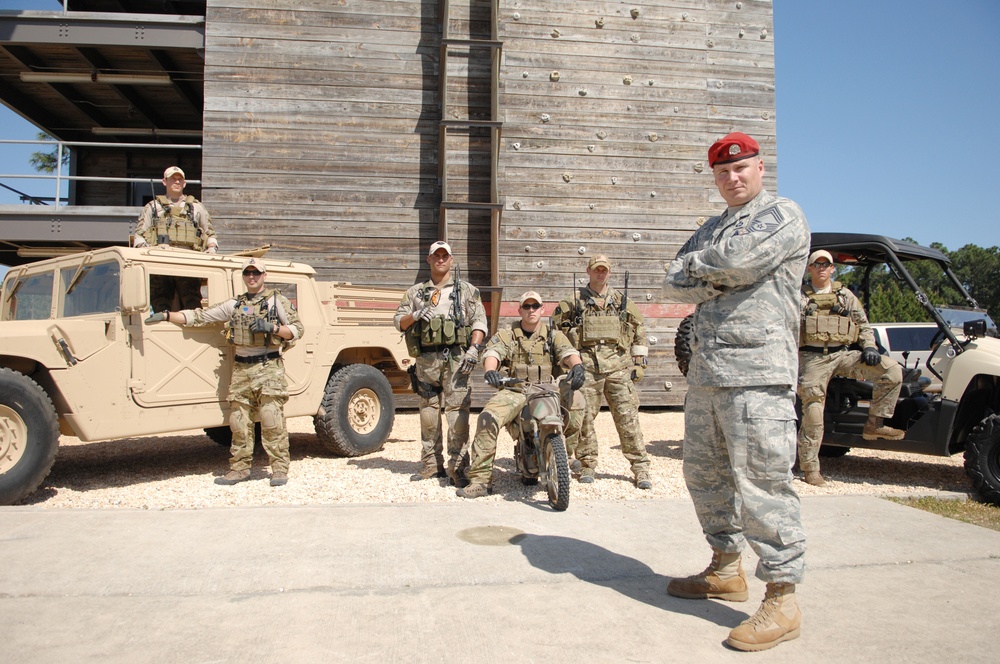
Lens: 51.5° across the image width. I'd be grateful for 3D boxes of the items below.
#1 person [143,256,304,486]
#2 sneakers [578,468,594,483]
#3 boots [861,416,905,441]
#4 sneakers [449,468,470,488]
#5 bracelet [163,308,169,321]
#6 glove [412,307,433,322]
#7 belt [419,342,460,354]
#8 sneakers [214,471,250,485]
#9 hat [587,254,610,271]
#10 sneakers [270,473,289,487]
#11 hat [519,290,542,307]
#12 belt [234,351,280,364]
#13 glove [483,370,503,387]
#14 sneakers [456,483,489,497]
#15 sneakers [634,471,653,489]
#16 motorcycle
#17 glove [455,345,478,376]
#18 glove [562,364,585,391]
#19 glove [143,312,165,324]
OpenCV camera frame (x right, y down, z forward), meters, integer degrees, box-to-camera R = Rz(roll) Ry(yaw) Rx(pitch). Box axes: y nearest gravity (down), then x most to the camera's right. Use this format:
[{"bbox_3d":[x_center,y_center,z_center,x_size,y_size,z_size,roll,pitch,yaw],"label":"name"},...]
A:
[{"bbox_3d":[-2.971,0.492,12.215,1.222,2.607,0.500,-1,6,-12],"label":"person"},{"bbox_3d":[1.009,1.740,12.504,0.184,0.178,0.115,8,-35,-1],"label":"sneakers"},{"bbox_3d":[4.535,1.182,12.507,0.555,0.378,0.208,-2,0,2],"label":"boots"},{"bbox_3d":[-0.481,1.699,12.200,0.183,0.343,0.278,-6,-6,10],"label":"sneakers"},{"bbox_3d":[-3.846,-0.180,12.000,0.082,0.113,0.041,0,5,-4],"label":"bracelet"},{"bbox_3d":[-0.922,-0.205,12.204,0.177,0.074,0.178,-5,-5,42],"label":"glove"},{"bbox_3d":[-0.734,0.206,12.325,0.495,0.113,0.069,0,6,-4],"label":"belt"},{"bbox_3d":[-3.159,1.725,12.264,0.164,0.112,0.318,-3,-8,41],"label":"sneakers"},{"bbox_3d":[1.161,-0.860,12.698,0.229,0.166,0.326,0,-12,1],"label":"hat"},{"bbox_3d":[-2.611,1.739,12.222,0.196,0.147,0.130,-1,6,-16],"label":"sneakers"},{"bbox_3d":[0.346,-0.415,13.020,0.338,0.189,0.518,-1,-6,2],"label":"hat"},{"bbox_3d":[-2.866,0.305,12.210,0.491,0.146,0.099,-1,6,-13],"label":"belt"},{"bbox_3d":[-0.083,0.532,11.647,0.191,0.197,0.202,0,6,-3],"label":"glove"},{"bbox_3d":[-0.330,1.797,11.851,0.279,0.110,0.157,5,-10,-26],"label":"sneakers"},{"bbox_3d":[1.677,1.771,12.375,0.209,0.182,0.195,1,6,6],"label":"sneakers"},{"bbox_3d":[0.366,1.161,11.824,0.941,1.435,1.282,1,6,4],"label":"motorcycle"},{"bbox_3d":[-0.392,0.337,12.115,0.198,0.338,0.120,35,-18,-20],"label":"glove"},{"bbox_3d":[0.849,0.502,11.826,0.205,0.118,0.277,-34,-8,25],"label":"glove"},{"bbox_3d":[-3.957,-0.160,11.939,0.155,0.053,0.155,-2,16,8],"label":"glove"}]
